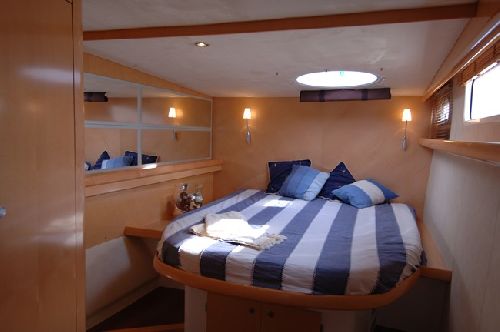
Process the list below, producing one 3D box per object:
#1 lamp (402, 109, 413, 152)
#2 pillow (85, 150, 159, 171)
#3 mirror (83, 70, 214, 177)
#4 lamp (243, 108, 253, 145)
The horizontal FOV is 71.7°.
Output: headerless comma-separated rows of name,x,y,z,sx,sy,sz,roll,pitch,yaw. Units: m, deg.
lamp,2.113,-0.472,4.658,0.122,0.549,0.134,1,12,19
pillow,-1.353,-0.071,3.790,0.056,0.260,1.007,3,12,26
mirror,-1.143,-0.471,4.211,0.100,1.161,2.128,2,12,25
lamp,-0.029,-0.607,5.342,0.126,0.539,0.124,-3,11,0
